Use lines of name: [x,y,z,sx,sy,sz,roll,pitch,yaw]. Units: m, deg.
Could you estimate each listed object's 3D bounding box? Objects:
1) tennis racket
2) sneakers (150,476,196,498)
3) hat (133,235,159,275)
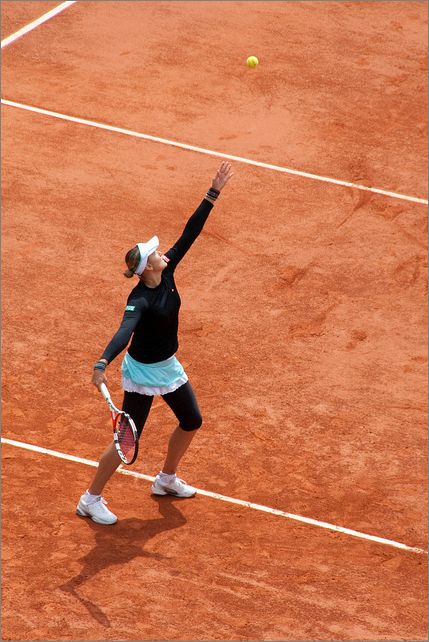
tennis racket: [-0.725,0.774,6.191,0.065,0.285,0.815,-19,18,-19]
sneakers: [-0.343,1.343,6.701,0.415,0.191,0.138,5,44,-15]
hat: [-0.441,-0.448,5.698,0.097,0.263,0.163,29,8,-26]
